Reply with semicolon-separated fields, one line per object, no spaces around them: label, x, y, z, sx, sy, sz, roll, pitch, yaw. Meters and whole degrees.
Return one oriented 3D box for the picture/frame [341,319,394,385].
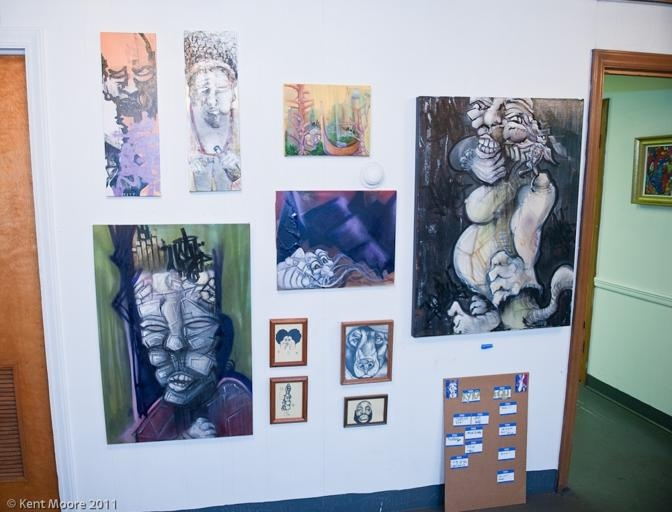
picture/frame;0.164;0.535;3.708;0.321;0.439;0.030;-1;7;-11
